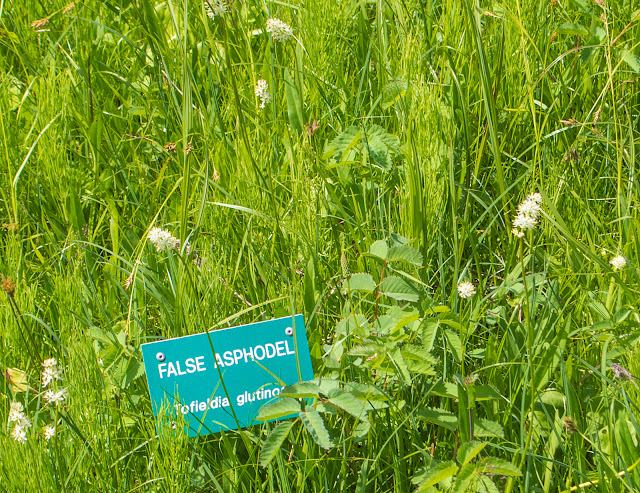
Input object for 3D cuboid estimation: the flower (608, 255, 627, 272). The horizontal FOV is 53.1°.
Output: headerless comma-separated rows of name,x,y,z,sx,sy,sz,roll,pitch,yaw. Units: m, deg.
flower,0.881,0.042,1.885,0.036,0.050,0.018,19,11,8
